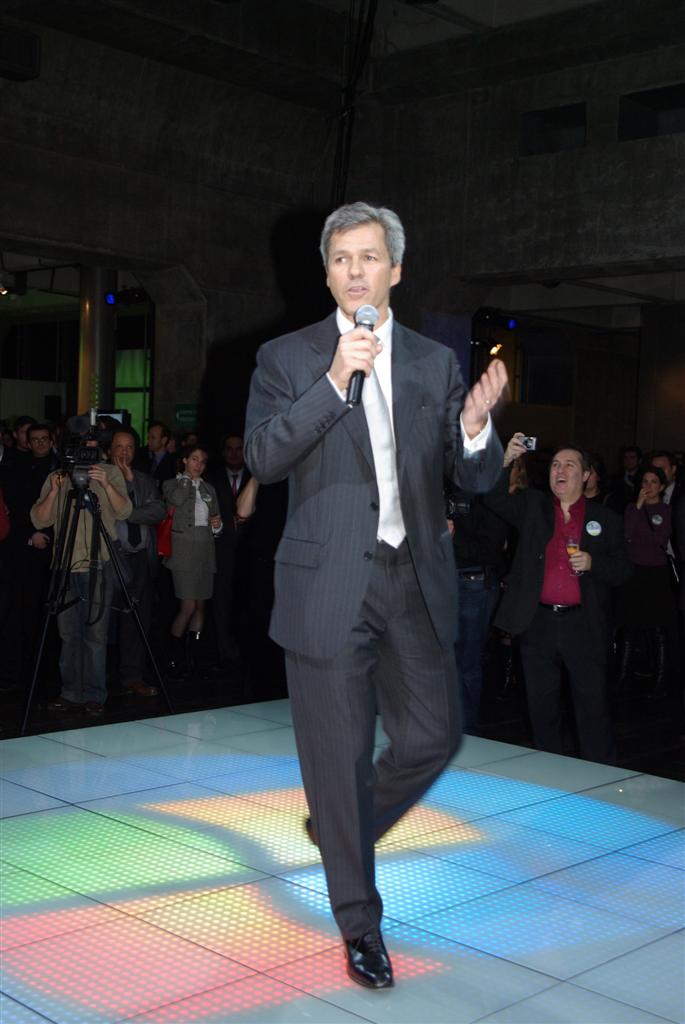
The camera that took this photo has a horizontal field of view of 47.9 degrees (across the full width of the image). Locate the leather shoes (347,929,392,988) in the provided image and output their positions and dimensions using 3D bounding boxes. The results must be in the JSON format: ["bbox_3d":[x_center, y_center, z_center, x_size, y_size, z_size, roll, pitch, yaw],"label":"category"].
[{"bbox_3d":[0.045,0.836,1.460,0.060,0.054,0.128,2,-8,-16],"label":"leather shoes"}]

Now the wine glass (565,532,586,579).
[{"bbox_3d":[1.174,0.213,3.812,0.110,0.199,0.237,0,-8,17],"label":"wine glass"}]

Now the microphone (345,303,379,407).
[{"bbox_3d":[0.019,-0.273,1.267,0.044,0.189,0.046,-11,-6,25],"label":"microphone"}]

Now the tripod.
[{"bbox_3d":[-1.698,0.442,5.082,0.887,1.838,0.742,0,15,-10],"label":"tripod"}]

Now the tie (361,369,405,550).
[{"bbox_3d":[0.083,-0.106,1.491,0.101,0.344,0.062,4,-8,-11],"label":"tie"}]
